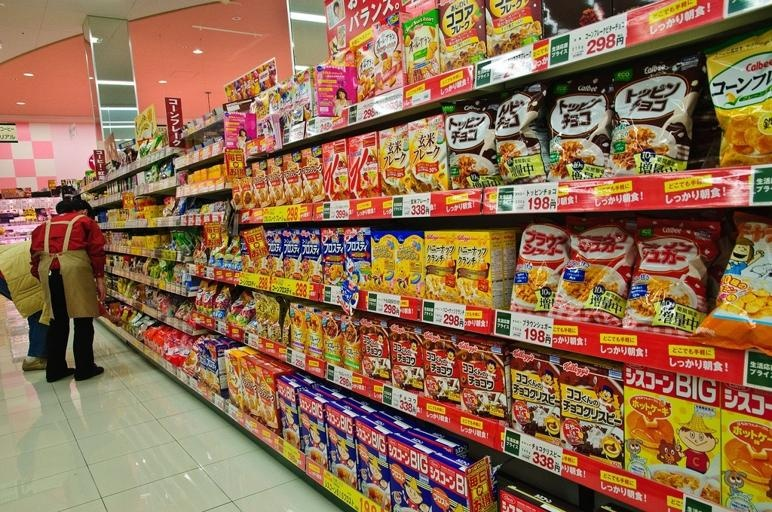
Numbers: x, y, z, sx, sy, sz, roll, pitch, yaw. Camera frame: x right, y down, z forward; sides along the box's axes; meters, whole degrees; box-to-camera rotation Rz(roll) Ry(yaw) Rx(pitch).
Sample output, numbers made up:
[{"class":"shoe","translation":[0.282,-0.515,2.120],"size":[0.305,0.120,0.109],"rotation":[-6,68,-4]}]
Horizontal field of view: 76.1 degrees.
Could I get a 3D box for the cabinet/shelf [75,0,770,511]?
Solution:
[{"class":"cabinet/shelf","translation":[0.049,-0.092,2.754],"size":[1.025,1.815,3.340],"rotation":[-14,14,-35]}]
